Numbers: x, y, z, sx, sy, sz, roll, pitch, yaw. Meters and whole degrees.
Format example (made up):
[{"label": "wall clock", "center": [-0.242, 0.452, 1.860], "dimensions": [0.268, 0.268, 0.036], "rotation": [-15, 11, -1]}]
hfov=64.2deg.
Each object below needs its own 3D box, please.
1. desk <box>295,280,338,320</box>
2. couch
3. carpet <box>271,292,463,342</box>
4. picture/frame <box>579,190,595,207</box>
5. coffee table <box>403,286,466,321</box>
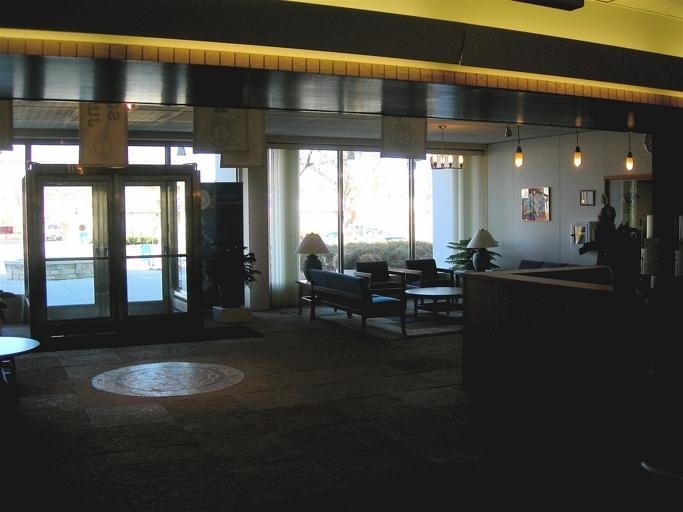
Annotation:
[{"label": "desk", "center": [-0.557, 0.912, 11.716], "dimensions": [0.802, 0.744, 0.797], "rotation": [0, 2, -17]}, {"label": "couch", "center": [0.272, 0.800, 9.877], "dimensions": [0.711, 0.958, 2.302], "rotation": [-3, 5, -31]}, {"label": "carpet", "center": [0.594, 1.202, 10.814], "dimensions": [3.895, 0.220, 3.272], "rotation": [1, 9, -33]}, {"label": "picture/frame", "center": [5.131, -1.196, 11.356], "dimensions": [0.040, 0.314, 0.359], "rotation": [-2, 1, -31]}, {"label": "coffee table", "center": [1.913, 0.951, 10.784], "dimensions": [0.979, 0.637, 1.133], "rotation": [0, 8, -25]}]
